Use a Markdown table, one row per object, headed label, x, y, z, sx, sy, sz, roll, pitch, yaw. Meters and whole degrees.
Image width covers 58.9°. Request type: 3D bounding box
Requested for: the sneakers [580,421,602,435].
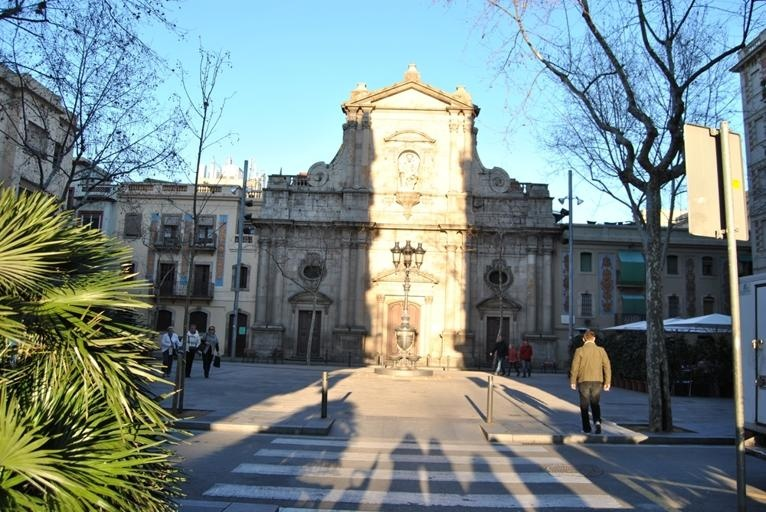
| label | x | y | z | sx | sy | sz | roll | pitch | yaw |
| --- | --- | --- | --- | --- | --- | --- | --- | --- | --- |
| sneakers | 4.321 | 3.589 | 14.222 | 0.209 | 0.247 | 0.591 | 2 | -4 | -6 |
